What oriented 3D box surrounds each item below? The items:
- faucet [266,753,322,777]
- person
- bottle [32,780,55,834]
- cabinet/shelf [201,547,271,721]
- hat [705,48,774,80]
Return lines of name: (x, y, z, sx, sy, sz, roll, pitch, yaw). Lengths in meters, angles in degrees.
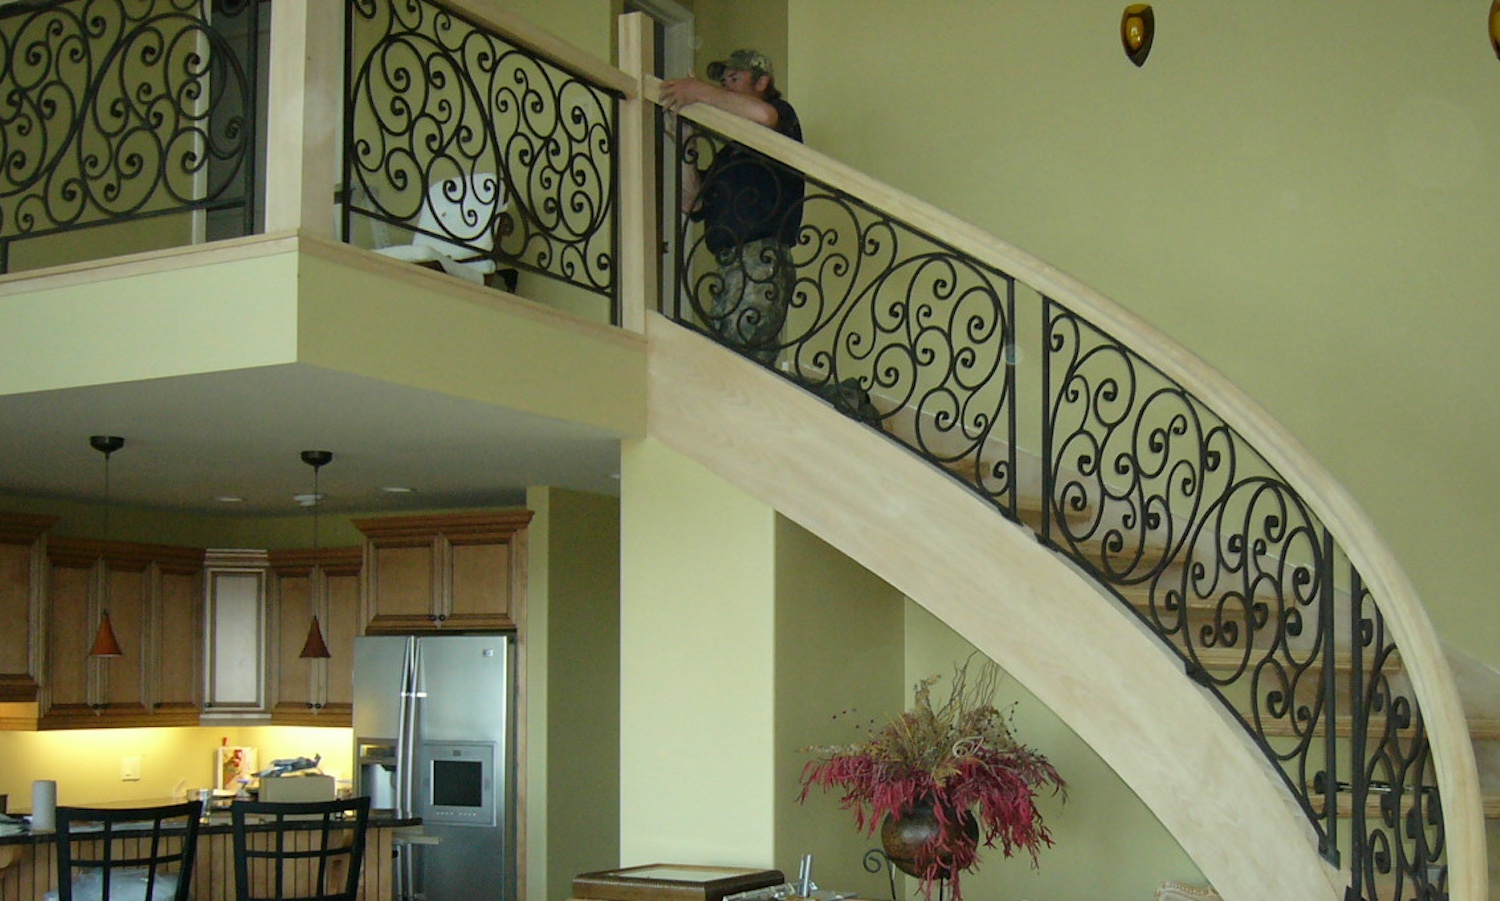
faucet: (-3.128, 2.199, 10.652, 0.292, 0.173, 0.414, -10, -18, 37)
person: (-0.064, -1.406, 8.660, 0.714, 2.032, 0.543, -3, -15, 1)
bottle: (-4.225, 2.141, 9.243, 0.120, 0.278, 0.100, 9, -19, -35)
cabinet/shelf: (-3.858, 1.441, 11.599, 0.410, 1.212, 0.108, 0, 9, -22)
hat: (-0.063, -2.278, 8.910, 0.347, 0.145, 0.235, 5, -2, -8)
